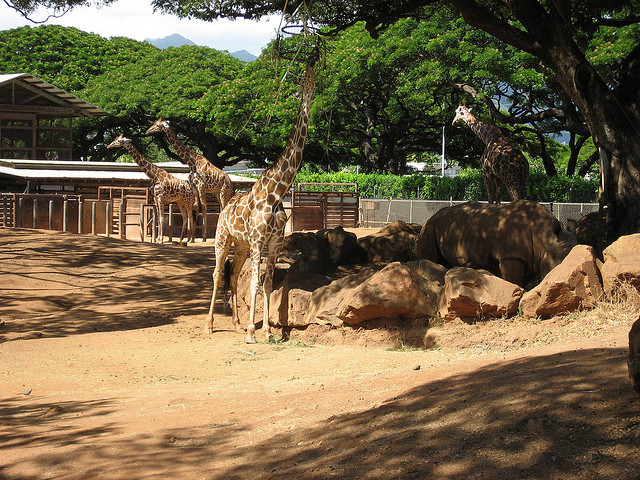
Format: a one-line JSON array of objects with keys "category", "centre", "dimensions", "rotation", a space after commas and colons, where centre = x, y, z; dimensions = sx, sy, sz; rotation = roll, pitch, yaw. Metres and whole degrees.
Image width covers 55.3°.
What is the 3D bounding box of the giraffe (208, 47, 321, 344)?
[{"category": "giraffe", "centre": [-1.322, -1.000, 13.330], "dimensions": [3.131, 5.735, 3.179], "rotation": [-10, 7, -13]}]
